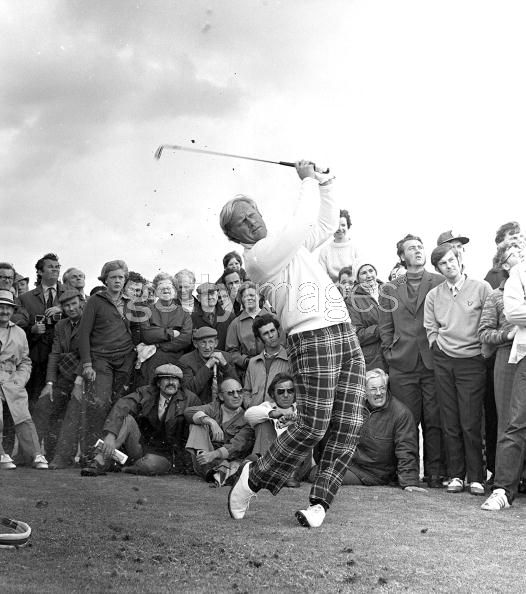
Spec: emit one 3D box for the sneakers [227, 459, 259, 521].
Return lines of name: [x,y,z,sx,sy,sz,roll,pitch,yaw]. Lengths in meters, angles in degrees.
sneakers: [-0.097,0.883,3.059,0.121,0.259,0.097,13,-4,19]

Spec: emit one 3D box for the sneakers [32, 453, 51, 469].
sneakers: [-1.610,1.196,4.819,0.066,0.058,0.160,0,2,-11]

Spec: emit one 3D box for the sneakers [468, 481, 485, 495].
sneakers: [1.347,1.214,4.200,0.054,0.051,0.124,1,6,10]

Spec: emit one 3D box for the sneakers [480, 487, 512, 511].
sneakers: [1.281,1.123,3.651,0.080,0.091,0.234,-2,-9,38]

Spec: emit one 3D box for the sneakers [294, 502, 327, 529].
sneakers: [0.208,0.952,2.887,0.064,0.070,0.162,8,-21,25]

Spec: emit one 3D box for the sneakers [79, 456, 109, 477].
sneakers: [-1.171,1.197,4.611,0.103,0.104,0.257,0,-17,4]

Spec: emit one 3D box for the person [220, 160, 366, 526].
person: [0.159,0.194,2.987,0.595,1.635,0.364,1,-8,6]

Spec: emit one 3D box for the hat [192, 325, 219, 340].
hat: [-0.451,0.288,5.183,0.176,0.118,0.165,3,-7,-6]

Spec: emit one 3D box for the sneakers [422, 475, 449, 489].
sneakers: [1.171,1.273,4.545,0.070,0.073,0.189,1,-9,-7]
